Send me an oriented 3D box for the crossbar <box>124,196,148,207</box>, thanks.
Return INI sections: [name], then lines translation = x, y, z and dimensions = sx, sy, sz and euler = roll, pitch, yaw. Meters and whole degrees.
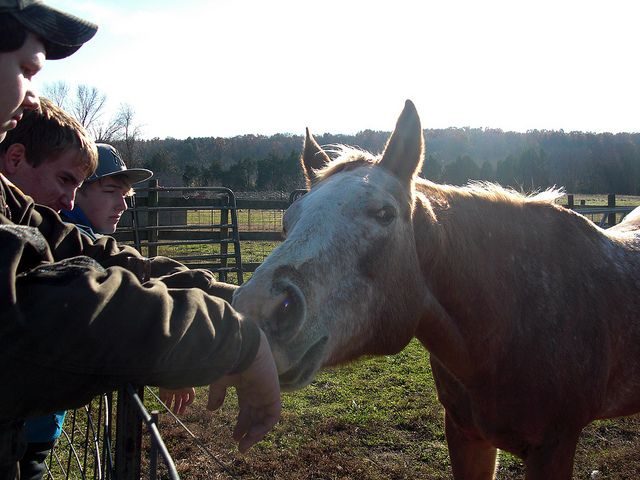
[crossbar]
translation = -2.779, -0.611, 8.746
dimensions = 0.292, 0.199, 0.078
euler = 0, 7, -6
